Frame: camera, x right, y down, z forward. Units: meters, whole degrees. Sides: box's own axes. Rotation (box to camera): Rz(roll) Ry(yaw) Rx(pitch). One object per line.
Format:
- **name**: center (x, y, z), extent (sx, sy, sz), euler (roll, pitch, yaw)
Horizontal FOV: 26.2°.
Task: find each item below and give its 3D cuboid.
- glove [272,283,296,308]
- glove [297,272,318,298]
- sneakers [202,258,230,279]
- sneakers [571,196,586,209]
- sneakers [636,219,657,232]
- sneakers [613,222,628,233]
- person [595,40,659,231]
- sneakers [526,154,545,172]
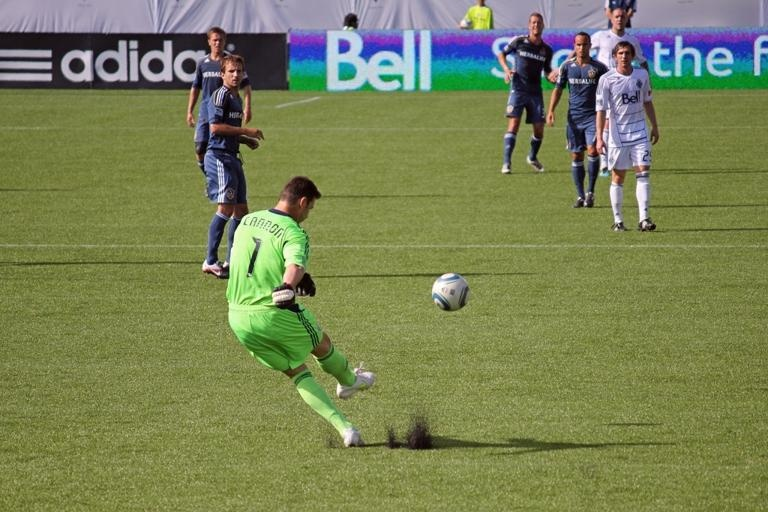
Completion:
- **glove**: center (-1.369, 0.550, 21.775), extent (0.310, 0.357, 0.216), euler (-1, 7, -5)
- **glove**: center (-1.055, 0.426, 22.575), extent (0.247, 0.396, 0.396), euler (0, 6, -34)
- **sneakers**: center (-2.654, 0.241, 25.749), extent (0.601, 0.290, 0.298), euler (2, 15, 20)
- **sneakers**: center (3.450, -0.933, 29.691), extent (0.329, 0.143, 0.120), euler (-21, 10, 29)
- **sneakers**: center (4.396, -0.491, 27.834), extent (0.148, 0.176, 0.347), euler (-2, -4, -10)
- **sneakers**: center (3.964, -0.466, 27.970), extent (0.163, 0.168, 0.379), euler (1, 4, 4)
- **person**: center (4.139, -1.997, 27.698), extent (1.049, 3.247, 0.987), euler (-2, 3, 16)
- **sneakers**: center (2.975, -1.767, 32.692), extent (0.506, 0.202, 0.214), euler (38, -51, -27)
